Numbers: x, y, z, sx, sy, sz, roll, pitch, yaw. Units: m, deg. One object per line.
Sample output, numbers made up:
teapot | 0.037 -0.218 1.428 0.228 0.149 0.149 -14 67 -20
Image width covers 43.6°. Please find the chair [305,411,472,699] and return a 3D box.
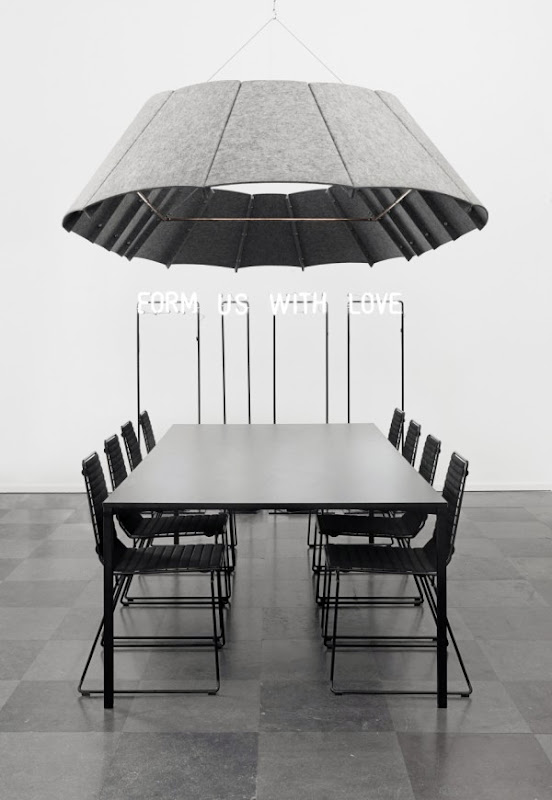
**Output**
chair | 0.514 0.679 3.254 0.665 0.908 1.450 0 3 4

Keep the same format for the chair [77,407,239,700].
chair | -0.539 0.678 3.273 0.635 0.913 1.547 0 3 -4
